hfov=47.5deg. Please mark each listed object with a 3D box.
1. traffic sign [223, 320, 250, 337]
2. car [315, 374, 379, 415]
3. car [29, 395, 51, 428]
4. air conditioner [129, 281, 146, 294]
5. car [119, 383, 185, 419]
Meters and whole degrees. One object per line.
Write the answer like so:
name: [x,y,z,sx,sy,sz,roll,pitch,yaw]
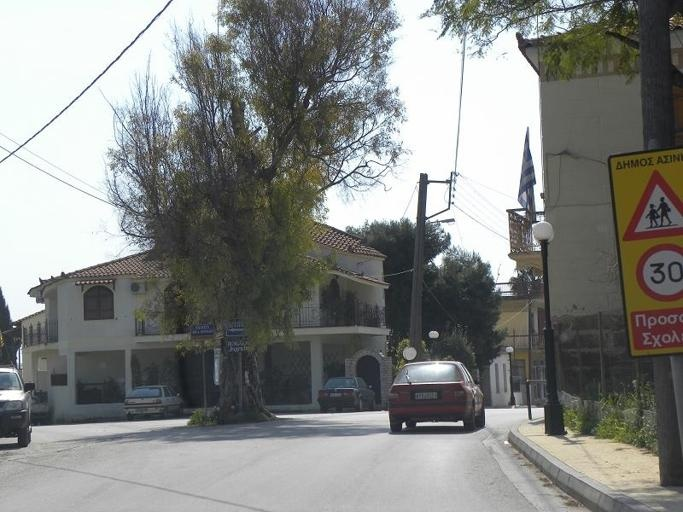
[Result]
traffic sign: [-3.586,2.415,26.345,0.782,0.530,0.159,-6,-12,11]
car: [0.348,6.798,38.175,2.958,1.701,1.806,12,-21,-43]
car: [-16.455,8.372,42.326,0.926,1.379,1.955,1,-10,-8]
air conditioner: [-11.474,1.735,43.538,0.835,0.796,0.471,-4,-12,6]
car: [-8.846,7.091,37.827,1.283,1.293,2.555,-1,-4,11]
